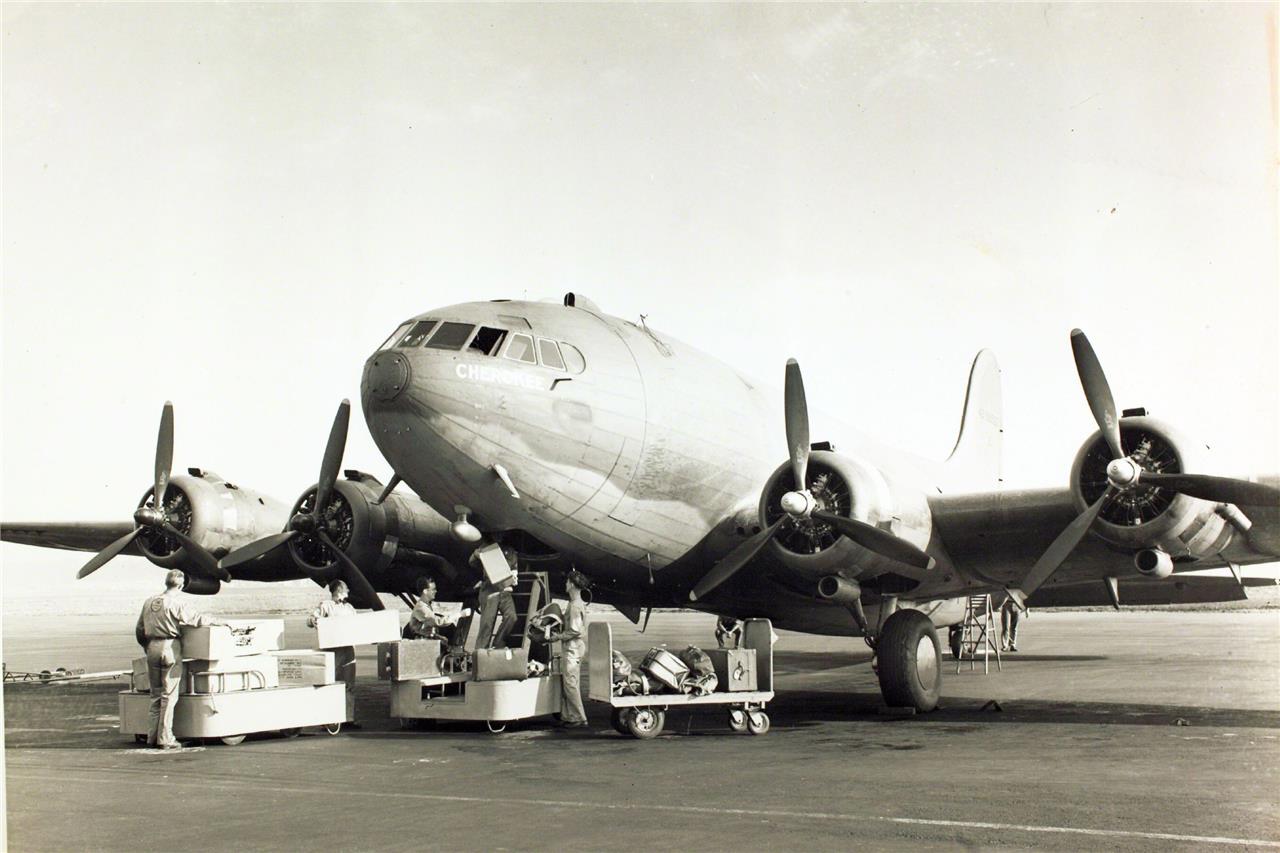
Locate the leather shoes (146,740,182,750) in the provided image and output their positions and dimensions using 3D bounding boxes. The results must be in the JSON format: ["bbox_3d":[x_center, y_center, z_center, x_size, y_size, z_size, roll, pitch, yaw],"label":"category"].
[{"bbox_3d":[-6.946,4.644,17.196,0.563,0.216,0.169,-2,-7,10],"label":"leather shoes"}]

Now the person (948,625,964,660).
[{"bbox_3d":[8.594,5.936,32.153,0.328,1.048,0.762,-4,8,2],"label":"person"}]

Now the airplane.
[{"bbox_3d":[1.017,1.542,21.658,19.073,7.247,7.789,-2,-8,0],"label":"airplane"}]

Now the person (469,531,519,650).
[{"bbox_3d":[-2.453,2.782,19.507,0.793,1.677,0.495,0,-9,-8],"label":"person"}]

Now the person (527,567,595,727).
[{"bbox_3d":[-1.218,3.633,19.271,0.886,2.476,1.415,2,-9,-22],"label":"person"}]
